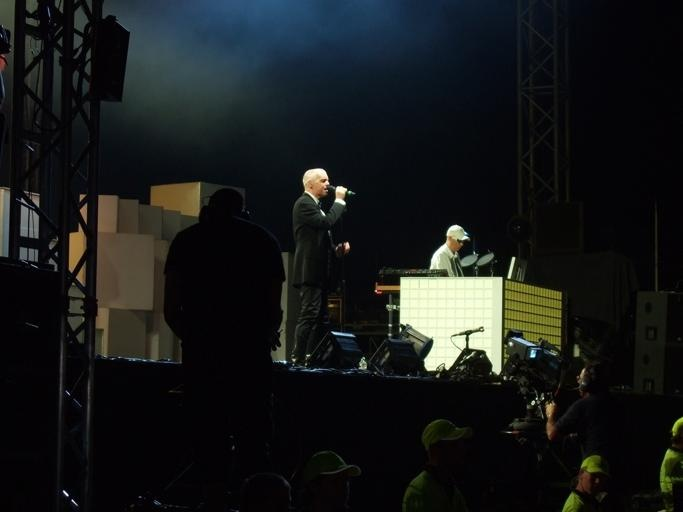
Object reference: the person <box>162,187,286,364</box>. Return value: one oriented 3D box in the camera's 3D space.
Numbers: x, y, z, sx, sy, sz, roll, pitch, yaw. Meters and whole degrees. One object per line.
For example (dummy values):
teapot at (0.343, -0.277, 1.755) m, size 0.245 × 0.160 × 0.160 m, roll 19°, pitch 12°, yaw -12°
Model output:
person at (-0.932, 0.132, 7.035) m, size 0.950 × 1.356 × 0.280 m, roll 5°, pitch -5°, yaw -13°

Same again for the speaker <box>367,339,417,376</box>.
speaker at (0.608, 1.078, 9.651) m, size 0.380 × 0.413 × 0.418 m, roll 9°, pitch 23°, yaw 11°

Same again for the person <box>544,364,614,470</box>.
person at (2.292, 1.472, 8.420) m, size 0.604 × 0.898 × 0.347 m, roll 1°, pitch -6°, yaw 26°

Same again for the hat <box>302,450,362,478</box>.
hat at (-0.074, 1.525, 6.274) m, size 0.283 × 0.173 × 0.228 m, roll -17°, pitch -8°, yaw 10°

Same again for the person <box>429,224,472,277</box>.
person at (1.511, -0.104, 11.968) m, size 0.561 × 1.021 × 0.650 m, roll 2°, pitch 14°, yaw 8°

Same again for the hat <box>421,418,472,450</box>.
hat at (0.808, 1.347, 6.761) m, size 0.313 × 0.183 × 0.242 m, roll -22°, pitch -2°, yaw 9°

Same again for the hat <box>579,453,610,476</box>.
hat at (2.340, 1.922, 8.089) m, size 0.193 × 0.164 × 0.339 m, roll 2°, pitch -13°, yaw 10°

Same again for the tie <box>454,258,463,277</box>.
tie at (1.589, 0.149, 11.773) m, size 0.063 × 0.316 × 0.077 m, roll -1°, pitch -9°, yaw -25°

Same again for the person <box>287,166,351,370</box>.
person at (-0.269, 0.087, 9.936) m, size 0.620 × 2.221 × 0.966 m, roll 3°, pitch -5°, yaw -1°

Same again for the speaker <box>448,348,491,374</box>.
speaker at (1.368, 1.113, 9.276) m, size 0.451 × 0.290 × 0.694 m, roll 3°, pitch -6°, yaw 7°

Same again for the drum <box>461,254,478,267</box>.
drum at (1.678, 0.046, 11.481) m, size 0.223 × 0.180 × 0.604 m, roll 3°, pitch -6°, yaw 9°

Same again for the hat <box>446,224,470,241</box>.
hat at (1.572, -0.316, 11.727) m, size 0.251 × 0.235 × 0.398 m, roll 3°, pitch -6°, yaw 11°

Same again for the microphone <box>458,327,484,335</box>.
microphone at (1.505, 0.851, 10.083) m, size 0.268 × 0.124 × 0.498 m, roll 3°, pitch -6°, yaw 10°

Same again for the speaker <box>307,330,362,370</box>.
speaker at (-0.051, 0.955, 9.283) m, size 0.369 × 0.267 × 0.517 m, roll -19°, pitch 0°, yaw -14°

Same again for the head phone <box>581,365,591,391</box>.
head phone at (2.378, 1.185, 8.493) m, size 0.070 × 0.237 × 0.183 m, roll 9°, pitch -21°, yaw 13°
